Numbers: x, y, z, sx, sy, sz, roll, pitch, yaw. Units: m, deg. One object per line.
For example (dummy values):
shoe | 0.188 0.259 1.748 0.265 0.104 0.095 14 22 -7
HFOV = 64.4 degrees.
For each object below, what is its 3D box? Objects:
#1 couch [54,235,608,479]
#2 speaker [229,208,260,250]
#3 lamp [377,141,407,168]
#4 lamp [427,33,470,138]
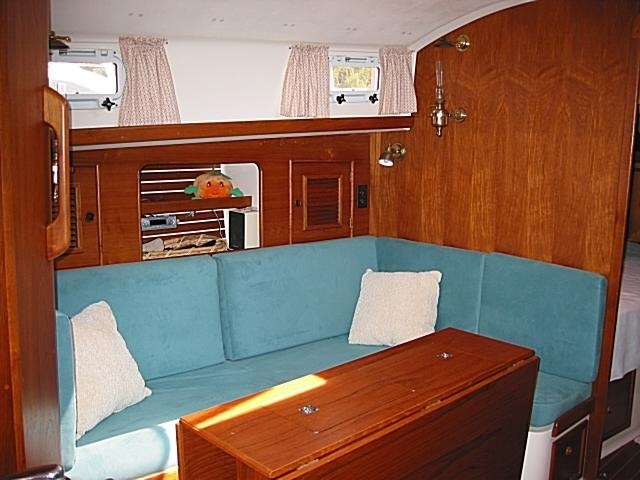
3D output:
couch | 0.089 0.599 2.599 1.760 0.551 1.082 -7 9 -37
speaker | -0.584 -0.085 4.280 0.248 0.316 0.398 0 2 -22
lamp | 0.528 -0.627 3.709 0.190 0.120 0.269 21 14 20
lamp | 0.809 -1.063 3.486 0.310 0.677 0.301 -12 14 -43
